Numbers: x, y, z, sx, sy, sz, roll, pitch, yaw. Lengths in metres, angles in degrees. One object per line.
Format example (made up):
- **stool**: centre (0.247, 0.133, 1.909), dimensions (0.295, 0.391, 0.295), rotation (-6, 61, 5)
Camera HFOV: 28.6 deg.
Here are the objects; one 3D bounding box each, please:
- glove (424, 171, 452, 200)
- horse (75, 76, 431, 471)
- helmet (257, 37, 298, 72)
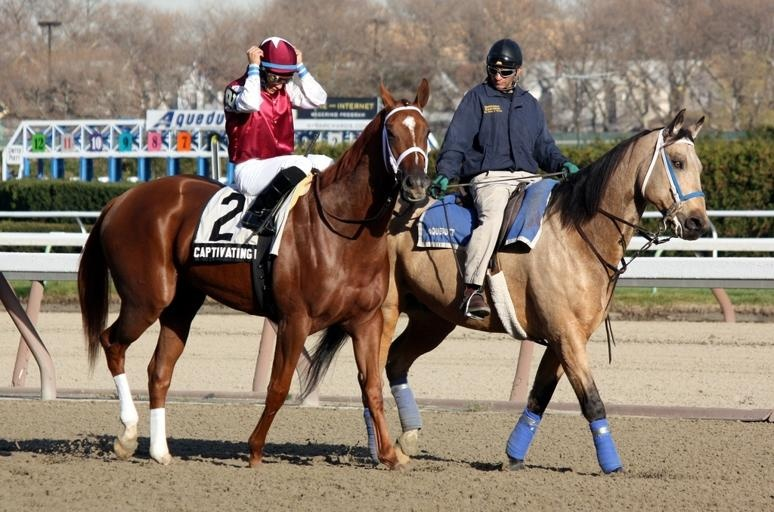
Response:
- **glove**: centre (0.907, -1.241, 27.247), dimensions (0.298, 0.448, 0.153), rotation (17, 20, -18)
- **horse**: centre (-2.360, 0.580, 27.532), dimensions (7.563, 6.940, 2.169), rotation (-1, -1, 24)
- **helmet**: centre (-1.940, -3.579, 26.978), dimensions (0.479, 0.375, 0.691), rotation (-11, 50, -29)
